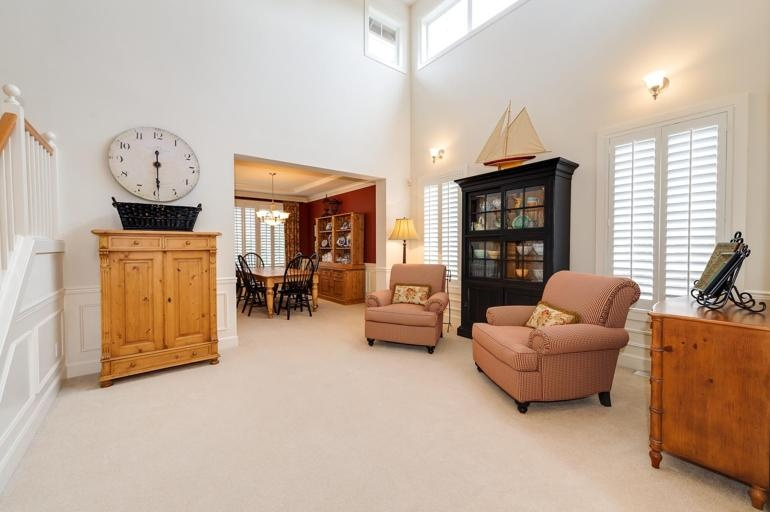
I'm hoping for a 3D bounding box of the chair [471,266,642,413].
[{"bbox_3d":[1.844,0.853,5.697,1.522,1.320,1.519,-1,4,-3],"label":"chair"}]

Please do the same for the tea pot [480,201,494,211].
[{"bbox_3d":[1.384,-0.681,6.831,0.148,0.066,0.198,1,1,6],"label":"tea pot"}]

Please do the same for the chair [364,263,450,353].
[{"bbox_3d":[0.314,0.650,6.771,1.071,1.095,0.872,3,2,13],"label":"chair"}]

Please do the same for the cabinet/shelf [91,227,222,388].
[{"bbox_3d":[-2.631,0.573,5.694,1.711,2.236,0.620,0,-1,-37],"label":"cabinet/shelf"}]

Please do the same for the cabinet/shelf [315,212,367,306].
[{"bbox_3d":[-0.910,0.003,9.947,0.621,1.707,1.758,2,2,-23],"label":"cabinet/shelf"}]

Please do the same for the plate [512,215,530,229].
[{"bbox_3d":[1.729,-0.435,6.417,0.063,0.174,0.266,1,2,-41],"label":"plate"}]

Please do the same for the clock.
[{"bbox_3d":[-2.809,-1.100,6.055,0.945,0.970,0.127,6,-9,-36],"label":"clock"}]

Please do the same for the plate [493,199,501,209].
[{"bbox_3d":[1.489,-0.688,6.707,0.116,0.121,0.037,-8,-3,-13],"label":"plate"}]
